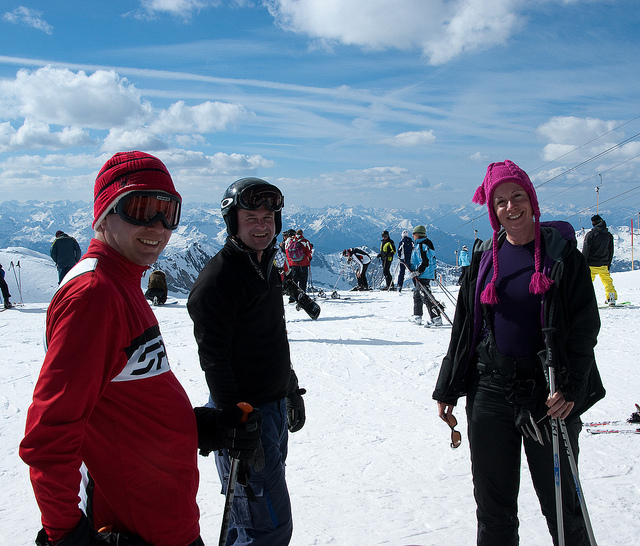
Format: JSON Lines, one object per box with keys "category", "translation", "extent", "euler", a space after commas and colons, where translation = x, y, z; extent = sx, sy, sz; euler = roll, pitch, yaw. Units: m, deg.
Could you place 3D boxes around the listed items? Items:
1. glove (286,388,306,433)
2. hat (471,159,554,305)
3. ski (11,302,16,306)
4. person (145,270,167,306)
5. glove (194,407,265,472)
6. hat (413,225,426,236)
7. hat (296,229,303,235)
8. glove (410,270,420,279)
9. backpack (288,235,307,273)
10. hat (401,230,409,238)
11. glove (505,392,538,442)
{"category": "glove", "translation": [-0.201, 1.116, 4.306], "extent": [0.248, 0.324, 0.140], "euler": [-2, 7, -3]}
{"category": "hat", "translation": [1.420, -0.309, 3.850], "extent": [0.619, 1.089, 0.441], "euler": [-6, -23, 28]}
{"category": "ski", "translation": [-10.618, 1.081, 18.027], "extent": [0.062, 0.085, 0.196], "euler": [12, -35, -21]}
{"category": "person", "translation": [-5.360, 0.505, 17.081], "extent": [0.649, 0.769, 1.362], "euler": [0, 15, -8]}
{"category": "glove", "translation": [-0.565, 0.991, 3.221], "extent": [0.377, 0.474, 0.268], "euler": [2, 3, 4]}
{"category": "hat", "translation": [2.302, -0.996, 12.087], "extent": [0.208, 0.209, 0.255], "euler": [14, 20, 30]}
{"category": "hat", "translation": [-0.668, -1.342, 16.902], "extent": [0.156, 0.190, 0.198], "euler": [3, 8, -3]}
{"category": "glove", "translation": [2.156, 0.031, 12.012], "extent": [0.189, 0.197, 0.327], "euler": [-7, 6, -14]}
{"category": "backpack", "translation": [-0.753, -0.751, 17.241], "extent": [0.509, 0.769, 0.832], "euler": [0, 3, 20]}
{"category": "hat", "translation": [3.038, -1.435, 18.600], "extent": [0.247, 0.317, 0.159], "euler": [0, -14, 5]}
{"category": "glove", "translation": [1.347, 0.977, 3.493], "extent": [0.213, 0.330, 0.139], "euler": [0, 8, 38]}
